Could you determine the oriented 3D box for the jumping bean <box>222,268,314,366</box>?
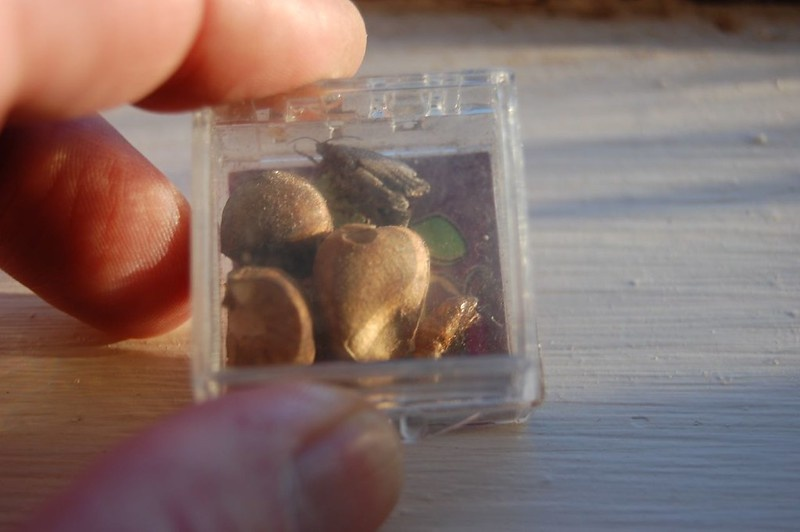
[{"bbox_3d":[-0.196,0.072,1.552,0.131,0.022,0.152,-5,81,0],"label":"jumping bean"}]

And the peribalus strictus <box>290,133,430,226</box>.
[{"bbox_3d":[-0.054,-0.131,1.621,0.164,0.049,0.107,27,75,12],"label":"peribalus strictus"}]
